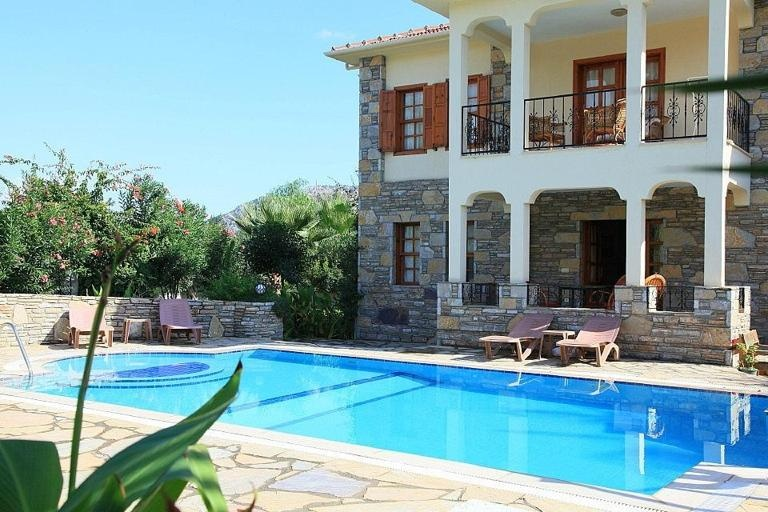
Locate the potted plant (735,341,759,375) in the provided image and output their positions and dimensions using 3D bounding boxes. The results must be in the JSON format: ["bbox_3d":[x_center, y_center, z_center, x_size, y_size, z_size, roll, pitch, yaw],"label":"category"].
[{"bbox_3d":[6.144,1.720,11.308,0.306,0.523,1.128,0,-4,30],"label":"potted plant"}]

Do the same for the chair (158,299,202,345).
[{"bbox_3d":[-4.688,1.636,15.035,0.696,1.369,0.901,2,-2,-9],"label":"chair"}]

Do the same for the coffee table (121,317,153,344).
[{"bbox_3d":[-5.555,1.635,15.009,0.648,0.523,0.894,-1,-5,41],"label":"coffee table"}]

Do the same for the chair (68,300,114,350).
[{"bbox_3d":[-6.180,1.406,14.017,1.334,0.940,0.790,0,-4,27],"label":"chair"}]

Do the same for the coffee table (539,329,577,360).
[{"bbox_3d":[3.372,1.644,13.075,0.574,0.589,0.601,2,4,23],"label":"coffee table"}]

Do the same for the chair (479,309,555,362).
[{"bbox_3d":[2.610,1.578,13.060,1.474,0.891,0.835,1,-2,-39],"label":"chair"}]

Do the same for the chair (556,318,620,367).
[{"bbox_3d":[3.879,1.589,12.541,0.775,0.848,1.433,-2,1,42],"label":"chair"}]
